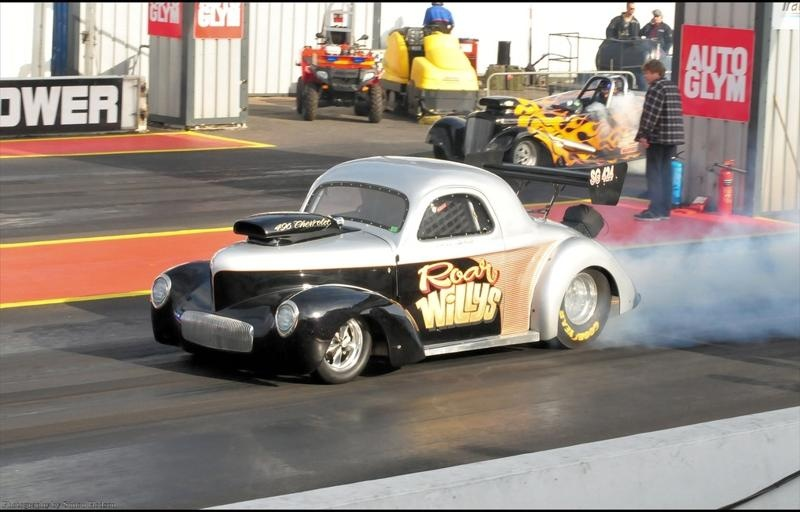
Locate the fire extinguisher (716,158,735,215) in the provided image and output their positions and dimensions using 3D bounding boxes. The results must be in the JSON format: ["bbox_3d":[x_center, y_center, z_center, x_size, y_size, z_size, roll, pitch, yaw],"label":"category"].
[{"bbox_3d":[6.801,-1.413,14.429,0.303,1.114,0.335,10,13,35],"label":"fire extinguisher"}]

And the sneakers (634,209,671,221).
[{"bbox_3d":[5.051,-0.812,13.946,0.713,0.235,0.224,-1,9,-5],"label":"sneakers"}]

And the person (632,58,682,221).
[{"bbox_3d":[5.139,-2.249,13.748,0.857,3.098,0.447,5,11,17],"label":"person"}]

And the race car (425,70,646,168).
[{"bbox_3d":[3.992,-3.440,17.303,5.842,1.689,3.759,-12,22,-25],"label":"race car"}]

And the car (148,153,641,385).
[{"bbox_3d":[0.083,0.030,8.622,5.432,1.853,3.131,-7,9,-38],"label":"car"}]
